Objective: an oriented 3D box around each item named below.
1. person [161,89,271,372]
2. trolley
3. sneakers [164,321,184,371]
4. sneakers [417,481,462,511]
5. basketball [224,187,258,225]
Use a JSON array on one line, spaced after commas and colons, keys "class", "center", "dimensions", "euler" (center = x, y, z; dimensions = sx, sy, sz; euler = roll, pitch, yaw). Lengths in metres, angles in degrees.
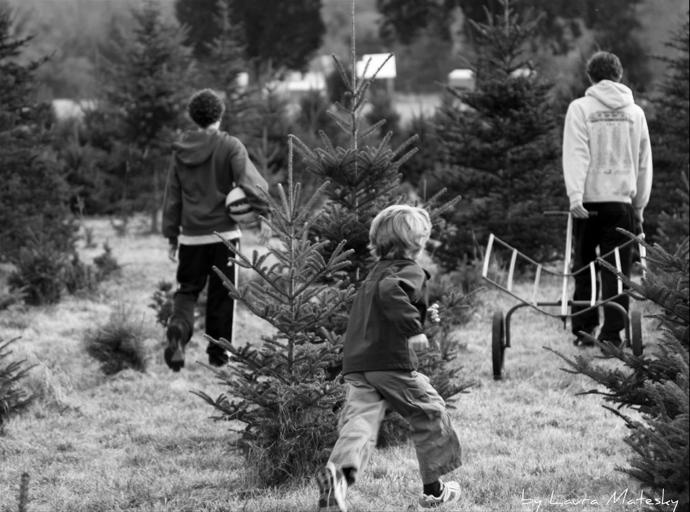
[{"class": "person", "center": [-1.324, -0.211, 14.418], "dimensions": [1.039, 2.852, 0.928], "euler": [1, 7, 11]}, {"class": "trolley", "center": [1.854, 0.487, 14.767], "dimensions": [0.901, 0.775, 1.385], "euler": [9, -33, -31]}, {"class": "sneakers", "center": [-1.652, 0.859, 14.188], "dimensions": [0.179, 0.445, 0.256], "euler": [-1, 7, -5]}, {"class": "sneakers", "center": [0.796, 1.987, 12.331], "dimensions": [0.163, 0.203, 0.403], "euler": [14, 27, 41]}, {"class": "basketball", "center": [-0.980, -0.513, 14.465], "dimensions": [0.298, 0.386, 0.330], "euler": [-32, 6, 0]}]
